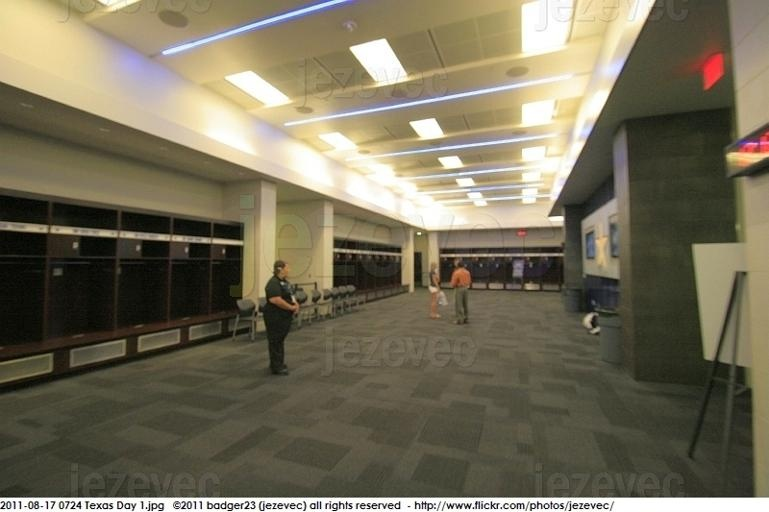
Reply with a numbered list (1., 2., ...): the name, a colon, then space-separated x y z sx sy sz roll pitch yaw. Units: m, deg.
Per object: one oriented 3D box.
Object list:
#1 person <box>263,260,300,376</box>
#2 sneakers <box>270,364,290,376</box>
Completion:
1. person: -1.652 0.969 7.348 0.516 1.764 0.503 -1 1 -4
2. sneakers: -1.651 1.794 7.219 0.228 0.096 0.172 1 7 2
